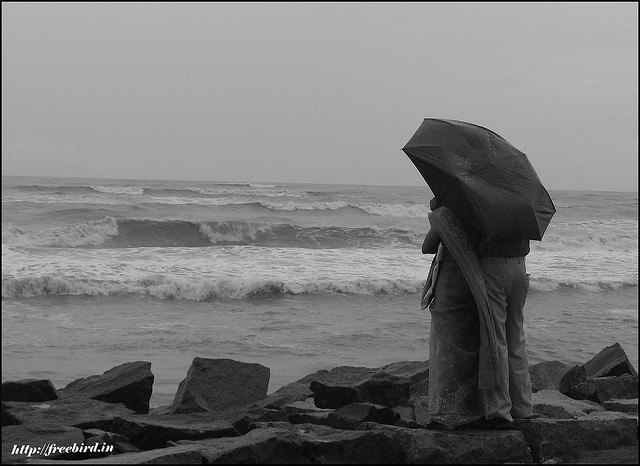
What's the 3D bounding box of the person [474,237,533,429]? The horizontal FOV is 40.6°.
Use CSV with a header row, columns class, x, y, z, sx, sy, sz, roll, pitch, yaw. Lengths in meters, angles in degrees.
class,x,y,z,sx,sy,sz,roll,pitch,yaw
person,2.199,1.173,10.344,0.830,2.268,0.542,1,8,-10
